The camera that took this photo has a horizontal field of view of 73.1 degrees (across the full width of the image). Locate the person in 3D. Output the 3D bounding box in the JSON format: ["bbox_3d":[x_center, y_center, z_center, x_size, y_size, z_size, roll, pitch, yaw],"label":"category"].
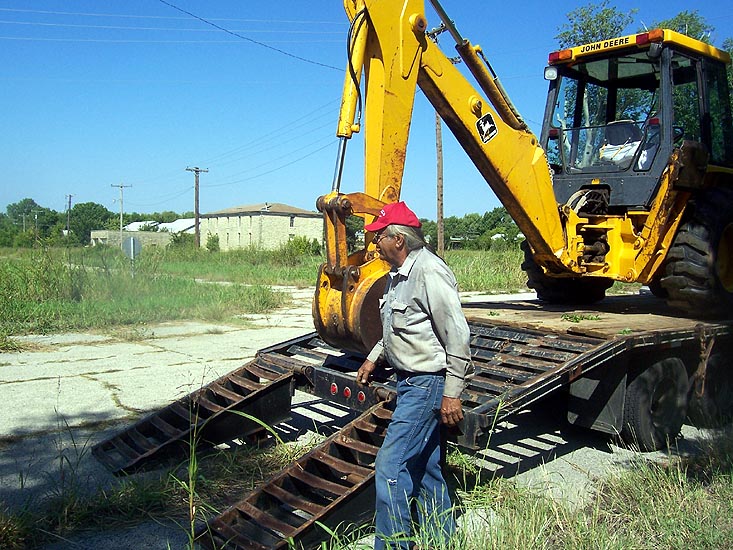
[{"bbox_3d":[0.294,0.688,3.402,0.794,2.389,0.733,-5,6,-38],"label":"person"}]
